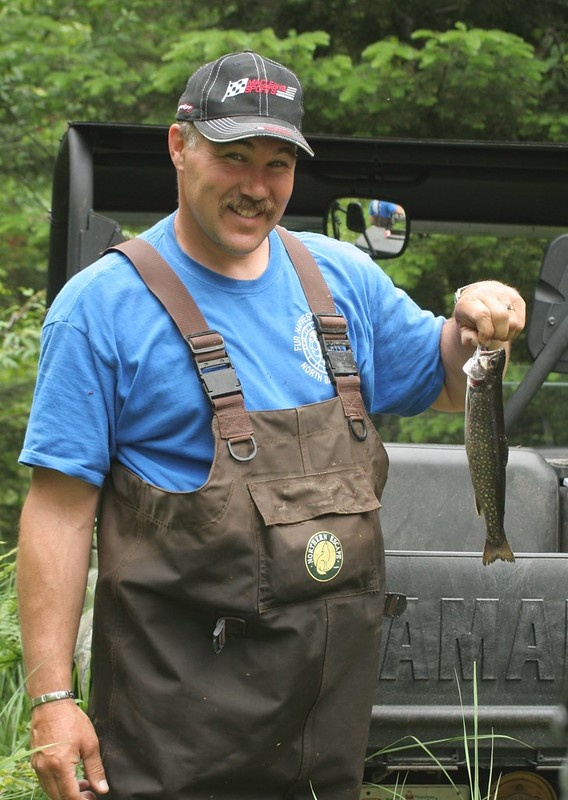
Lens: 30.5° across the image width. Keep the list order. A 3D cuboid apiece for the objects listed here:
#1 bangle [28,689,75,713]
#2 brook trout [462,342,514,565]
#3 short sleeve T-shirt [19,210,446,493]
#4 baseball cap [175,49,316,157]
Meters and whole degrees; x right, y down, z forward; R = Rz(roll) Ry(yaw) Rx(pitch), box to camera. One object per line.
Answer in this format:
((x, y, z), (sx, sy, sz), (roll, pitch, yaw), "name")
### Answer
((-0.525, 0.675, 2.341), (0.096, 0.049, 0.044), (-4, 7, -5), "bangle")
((0.543, 0.153, 2.673), (0.119, 0.559, 0.138), (-1, -1, -31), "brook trout")
((-0.106, -0.127, 2.644), (1.231, 0.696, 0.543), (-17, 22, -31), "short sleeve T-shirt")
((-0.073, -0.723, 2.467), (0.300, 0.194, 0.390), (-3, 27, -24), "baseball cap")
